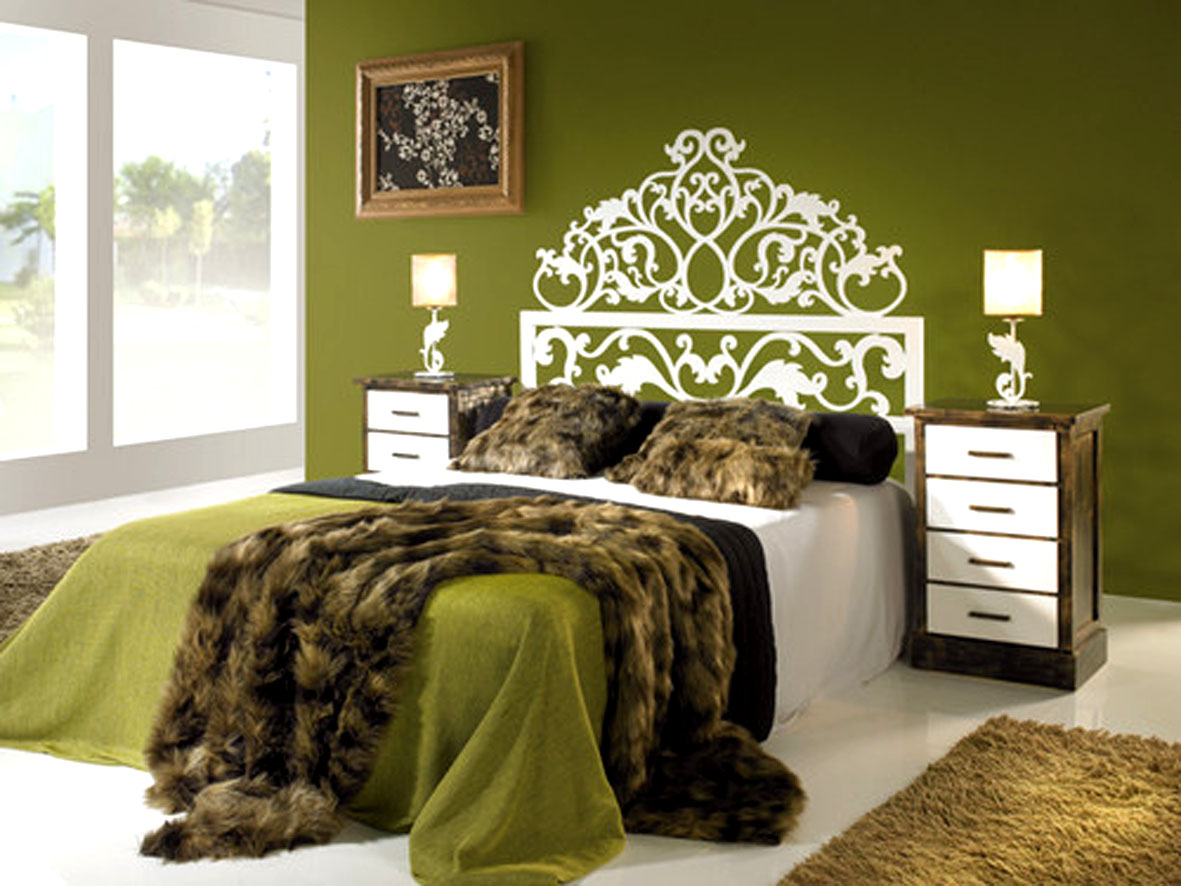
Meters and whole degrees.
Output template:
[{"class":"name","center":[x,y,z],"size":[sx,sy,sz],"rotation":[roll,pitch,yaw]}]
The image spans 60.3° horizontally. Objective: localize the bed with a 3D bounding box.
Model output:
[{"class":"bed","center":[-0.112,-0.149,3.968],"size":[2.434,2.451,3.043],"rotation":[3,5,35]}]

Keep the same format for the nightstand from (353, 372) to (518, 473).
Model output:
[{"class":"nightstand","center":[-0.937,-0.035,5.571],"size":[0.561,0.633,0.481],"rotation":[5,9,15]}]

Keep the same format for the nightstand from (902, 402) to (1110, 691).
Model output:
[{"class":"nightstand","center":[1.625,0.376,3.936],"size":[0.483,1.044,0.613],"rotation":[-8,7,-43]}]

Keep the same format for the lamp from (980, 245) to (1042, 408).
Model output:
[{"class":"lamp","center":[1.738,-0.465,4.207],"size":[0.258,0.670,1.003],"rotation":[4,10,23]}]
